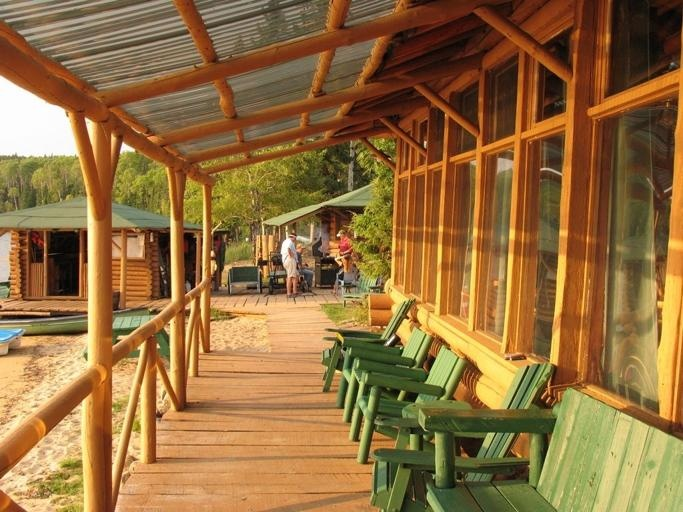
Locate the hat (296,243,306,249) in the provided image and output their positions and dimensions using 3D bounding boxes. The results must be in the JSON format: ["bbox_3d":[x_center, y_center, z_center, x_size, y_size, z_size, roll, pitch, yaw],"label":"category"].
[{"bbox_3d":[-1.505,-0.332,20.184,0.177,0.133,0.244,-1,-2,5],"label":"hat"}]

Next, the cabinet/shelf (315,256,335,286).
[{"bbox_3d":[-0.470,0.519,18.924,0.770,1.233,0.800,1,-1,-13],"label":"cabinet/shelf"}]

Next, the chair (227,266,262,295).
[{"bbox_3d":[-3.032,0.642,18.642,1.206,0.917,0.843,0,5,4],"label":"chair"}]

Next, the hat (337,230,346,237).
[{"bbox_3d":[-0.170,-0.616,16.325,0.298,0.169,0.209,-3,3,15],"label":"hat"}]

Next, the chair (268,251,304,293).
[{"bbox_3d":[-1.847,0.578,18.460,0.861,1.400,1.396,0,6,-4],"label":"chair"}]
